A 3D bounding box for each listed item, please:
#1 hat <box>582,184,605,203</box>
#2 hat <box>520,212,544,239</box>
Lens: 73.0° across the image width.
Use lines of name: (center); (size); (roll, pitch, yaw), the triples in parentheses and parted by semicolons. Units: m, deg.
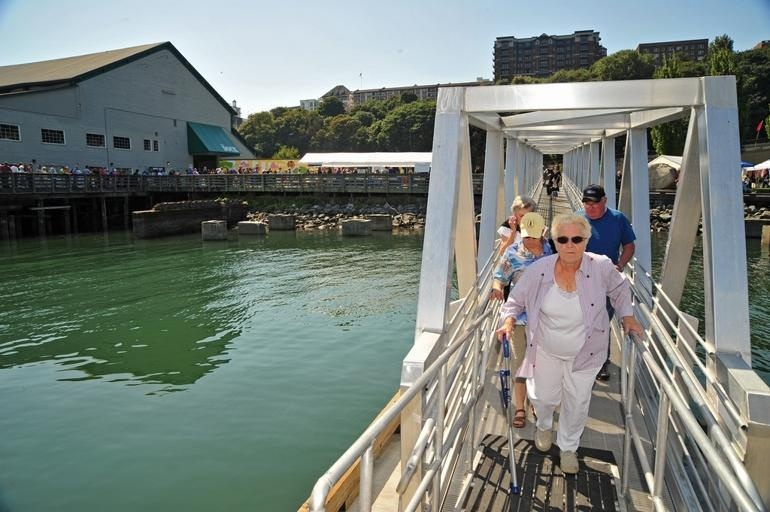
hat: (2.695, -0.825, 6.691); (0.189, 0.159, 0.282); (4, 7, 38)
hat: (1.639, -0.361, 5.794); (0.221, 0.305, 0.105); (4, 6, 9)
